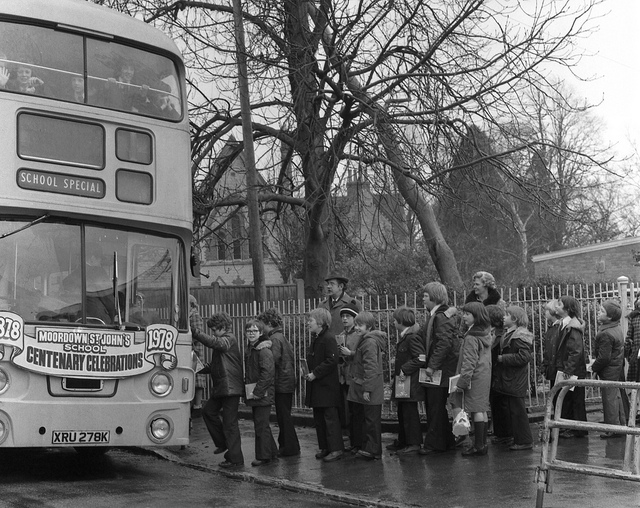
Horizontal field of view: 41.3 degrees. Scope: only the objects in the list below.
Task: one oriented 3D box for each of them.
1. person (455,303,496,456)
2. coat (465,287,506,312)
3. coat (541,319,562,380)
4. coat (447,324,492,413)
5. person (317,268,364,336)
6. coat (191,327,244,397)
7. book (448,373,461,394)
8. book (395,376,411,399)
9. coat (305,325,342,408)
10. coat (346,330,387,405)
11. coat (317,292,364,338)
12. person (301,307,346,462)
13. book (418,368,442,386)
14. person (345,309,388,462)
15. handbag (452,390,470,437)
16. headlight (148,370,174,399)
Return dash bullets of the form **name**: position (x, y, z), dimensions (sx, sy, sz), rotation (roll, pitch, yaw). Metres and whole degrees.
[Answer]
- **person**: position (2.153, 1.745, 11.934), dimensions (0.531, 2.113, 0.357), rotation (-2, -7, 8)
- **coat**: position (2.520, 0.850, 13.053), dimensions (0.572, 0.555, 0.327), rotation (-5, -10, 36)
- **coat**: position (3.581, 1.476, 13.177), dimensions (0.264, 0.923, 0.836), rotation (-1, -8, 4)
- **coat**: position (2.099, 1.611, 11.961), dimensions (0.471, 1.458, 0.643), rotation (8, -20, 25)
- **person**: position (0.353, 0.840, 15.484), dimensions (0.906, 1.461, 0.461), rotation (-7, -14, 37)
- **coat**: position (-1.478, 1.556, 12.183), dimensions (0.750, 0.988, 0.807), rotation (-3, -13, 14)
- **book**: position (1.844, 1.791, 11.901), dimensions (0.228, 0.254, 0.055), rotation (0, 13, -46)
- **book**: position (1.192, 1.910, 12.189), dimensions (0.288, 0.429, 0.056), rotation (-1, -2, 13)
- **coat**: position (0.018, 1.618, 12.270), dimensions (0.510, 1.188, 0.297), rotation (-2, -8, 12)
- **coat**: position (0.584, 1.600, 12.551), dimensions (0.716, 1.367, 1.082), rotation (2, -4, 8)
- **coat**: position (0.252, 0.948, 13.651), dimensions (0.735, 0.690, 0.275), rotation (5, 3, 35)
- **person**: position (0.033, 1.875, 12.270), dimensions (0.540, 2.178, 0.378), rotation (-2, -7, 12)
- **book**: position (1.564, 1.740, 12.047), dimensions (0.224, 0.187, 0.032), rotation (1, 7, 4)
- **person**: position (0.674, 1.891, 12.353), dimensions (0.526, 2.147, 1.021), rotation (-1, -8, 4)
- **handbag**: position (1.914, 2.170, 11.616), dimensions (0.211, 0.610, 0.657), rotation (-2, -8, 8)
- **headlight**: position (-2.095, 1.690, 11.164), dimensions (0.302, 0.339, 0.309), rotation (-3, 12, 46)
